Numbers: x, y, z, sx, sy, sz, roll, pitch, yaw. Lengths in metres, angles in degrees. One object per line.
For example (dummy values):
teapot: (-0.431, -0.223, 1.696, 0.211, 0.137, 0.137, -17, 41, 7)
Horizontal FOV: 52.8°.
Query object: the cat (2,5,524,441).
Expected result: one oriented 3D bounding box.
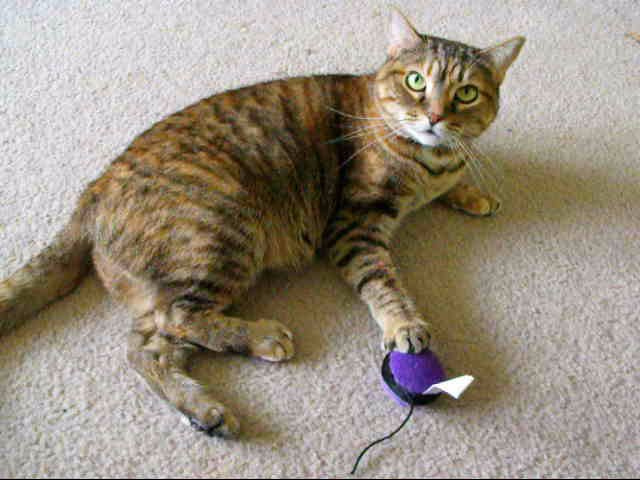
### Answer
cat: (0.069, -0.257, 2.097, 1.760, 0.837, 0.856, -27, 66, -27)
